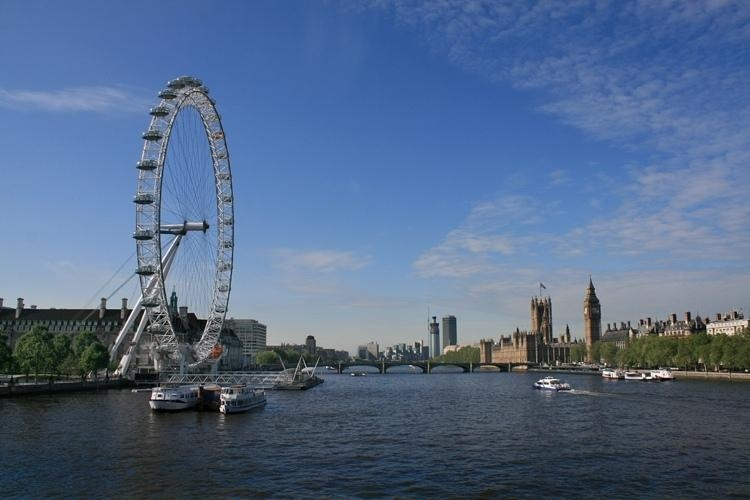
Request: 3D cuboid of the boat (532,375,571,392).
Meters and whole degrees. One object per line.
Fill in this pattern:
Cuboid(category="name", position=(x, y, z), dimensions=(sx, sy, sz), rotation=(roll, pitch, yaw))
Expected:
Cuboid(category="boat", position=(43.395, 34.007, 169.890), dimensions=(6.480, 4.585, 11.106), rotation=(3, -2, 4))
